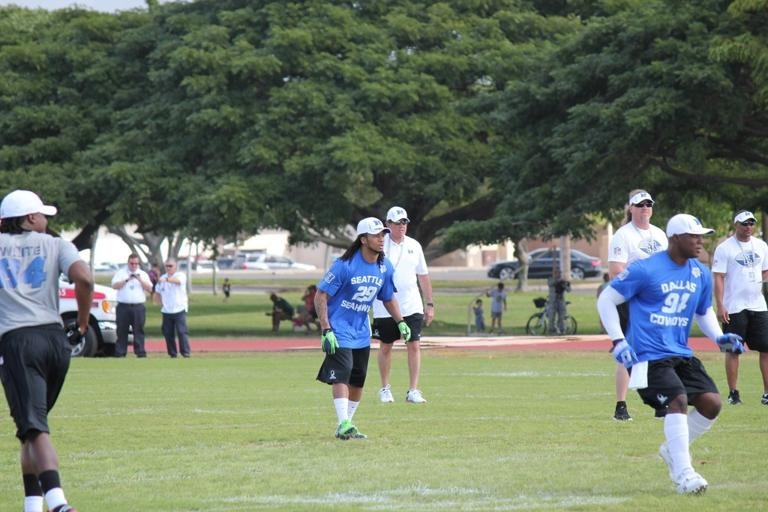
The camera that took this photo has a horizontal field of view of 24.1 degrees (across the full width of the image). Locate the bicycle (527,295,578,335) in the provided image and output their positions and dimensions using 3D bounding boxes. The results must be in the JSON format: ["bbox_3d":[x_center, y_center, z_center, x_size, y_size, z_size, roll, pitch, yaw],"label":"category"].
[{"bbox_3d":[5.870,2.232,61.960,2.018,1.270,0.981,1,-3,9],"label":"bicycle"}]
